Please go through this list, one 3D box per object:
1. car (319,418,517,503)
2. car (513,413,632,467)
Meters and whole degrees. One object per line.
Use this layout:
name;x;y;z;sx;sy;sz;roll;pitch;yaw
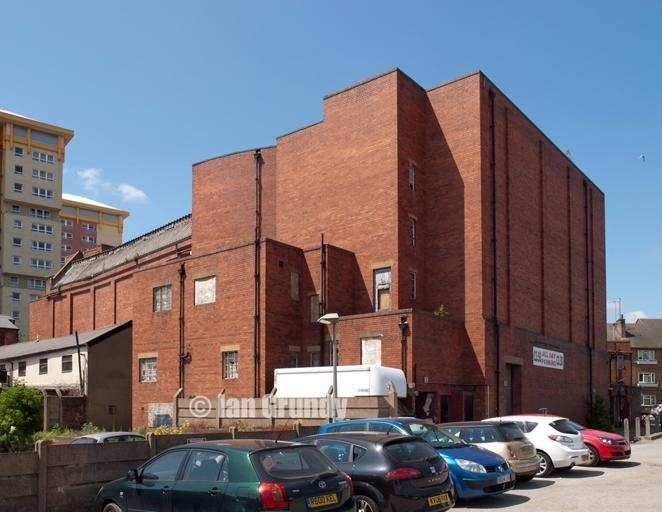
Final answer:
car;3.145;7.657;35.999;6.525;2.305;3.057;-2;-9;26
car;11.867;8.191;43.462;3.288;1.894;5.999;6;-11;-42
